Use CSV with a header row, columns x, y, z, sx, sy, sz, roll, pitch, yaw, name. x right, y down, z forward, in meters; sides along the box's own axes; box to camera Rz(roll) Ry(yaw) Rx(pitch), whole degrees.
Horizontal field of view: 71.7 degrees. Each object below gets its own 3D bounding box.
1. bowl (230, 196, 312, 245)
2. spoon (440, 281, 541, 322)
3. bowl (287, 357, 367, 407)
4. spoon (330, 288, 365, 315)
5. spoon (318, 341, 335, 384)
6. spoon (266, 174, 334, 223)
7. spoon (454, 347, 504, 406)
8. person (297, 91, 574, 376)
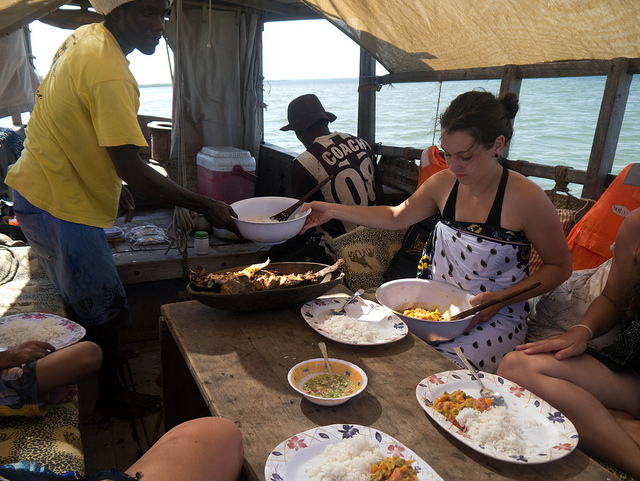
x,y,z,sx,sy,sz,roll,pitch,yaw,name
-0.305,-0.103,2.670,0.472,0.228,0.528,2,22,8,bowl
0.904,0.332,2.402,0.415,0.056,0.045,-30,38,3,spoon
0.031,0.565,1.719,0.314,0.084,0.311,2,13,-1,bowl
0.149,0.306,2.286,0.070,0.041,0.300,19,23,25,spoon
0.027,0.486,1.825,0.035,0.209,0.030,-11,-7,19,spoon
-0.060,-0.281,2.903,0.655,0.145,0.097,-43,22,-31,spoon
0.632,0.531,1.847,0.077,0.047,0.364,-2,25,-16,spoon
0.586,0.099,2.740,1.593,1.852,1.120,13,21,37,person
